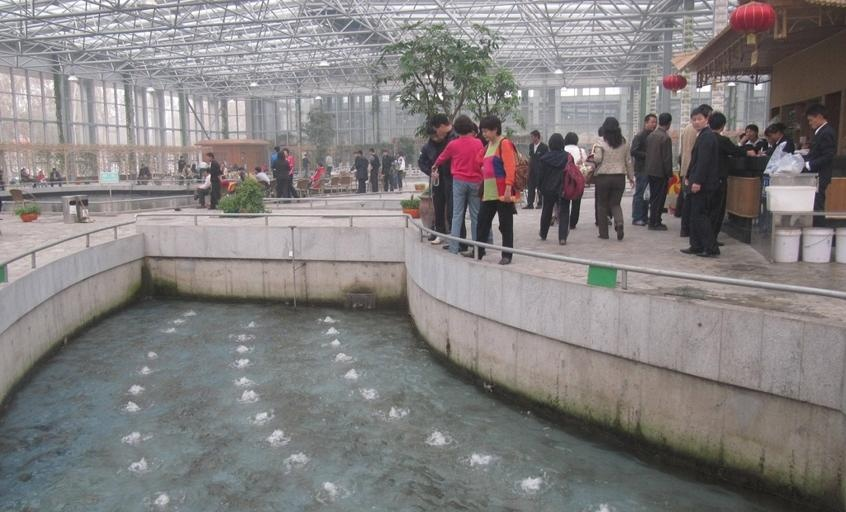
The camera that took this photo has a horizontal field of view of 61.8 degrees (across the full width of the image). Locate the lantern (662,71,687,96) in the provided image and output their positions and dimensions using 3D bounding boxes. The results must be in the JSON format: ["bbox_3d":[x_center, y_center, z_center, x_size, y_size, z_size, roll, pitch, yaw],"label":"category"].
[{"bbox_3d":[8.055,-5.562,22.979,1.008,0.900,1.039,4,13,31],"label":"lantern"}]

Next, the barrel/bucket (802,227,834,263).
[{"bbox_3d":[7.174,-0.196,12.962,0.568,0.635,0.624,-3,9,0],"label":"barrel/bucket"}]

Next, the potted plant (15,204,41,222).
[{"bbox_3d":[-12.511,-1.361,22.445,0.595,0.455,0.607,-2,7,-15],"label":"potted plant"}]

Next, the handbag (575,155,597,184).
[{"bbox_3d":[3.680,-1.934,15.830,0.311,0.897,0.818,12,13,5],"label":"handbag"}]

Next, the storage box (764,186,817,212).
[{"bbox_3d":[6.696,-1.020,12.797,0.666,0.358,0.479,2,3,44],"label":"storage box"}]

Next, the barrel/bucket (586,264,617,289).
[{"bbox_3d":[2.955,0.348,11.618,0.601,0.323,0.435,10,12,15],"label":"barrel/bucket"}]

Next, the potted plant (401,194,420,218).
[{"bbox_3d":[-0.257,-1.268,18.096,0.530,0.537,0.559,2,9,9],"label":"potted plant"}]

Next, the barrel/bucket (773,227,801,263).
[{"bbox_3d":[6.582,-0.199,12.990,0.568,0.591,0.561,-2,5,0],"label":"barrel/bucket"}]

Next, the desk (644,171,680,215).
[{"bbox_3d":[5.635,-1.501,16.617,0.613,1.102,0.806,-3,31,-6],"label":"desk"}]

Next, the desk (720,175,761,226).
[{"bbox_3d":[6.527,-1.204,14.443,0.681,0.820,1.212,-1,7,5],"label":"desk"}]
